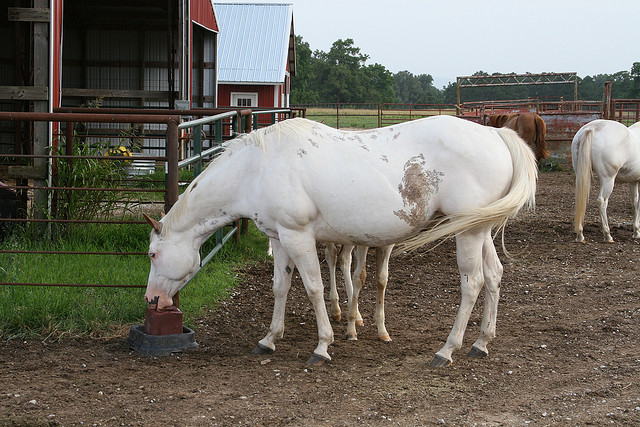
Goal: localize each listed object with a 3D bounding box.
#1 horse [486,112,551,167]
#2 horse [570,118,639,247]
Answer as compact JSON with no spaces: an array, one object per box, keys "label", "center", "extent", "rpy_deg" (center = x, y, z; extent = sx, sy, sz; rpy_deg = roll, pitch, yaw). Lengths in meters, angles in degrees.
[{"label":"horse","center":[4.657,-1.857,18.578],"extent":[0.522,1.401,2.218],"rpy_deg":[-12,8,-19]},{"label":"horse","center":[4.717,-0.544,12.981],"extent":[1.109,2.294,1.362],"rpy_deg":[1,-6,17]}]
